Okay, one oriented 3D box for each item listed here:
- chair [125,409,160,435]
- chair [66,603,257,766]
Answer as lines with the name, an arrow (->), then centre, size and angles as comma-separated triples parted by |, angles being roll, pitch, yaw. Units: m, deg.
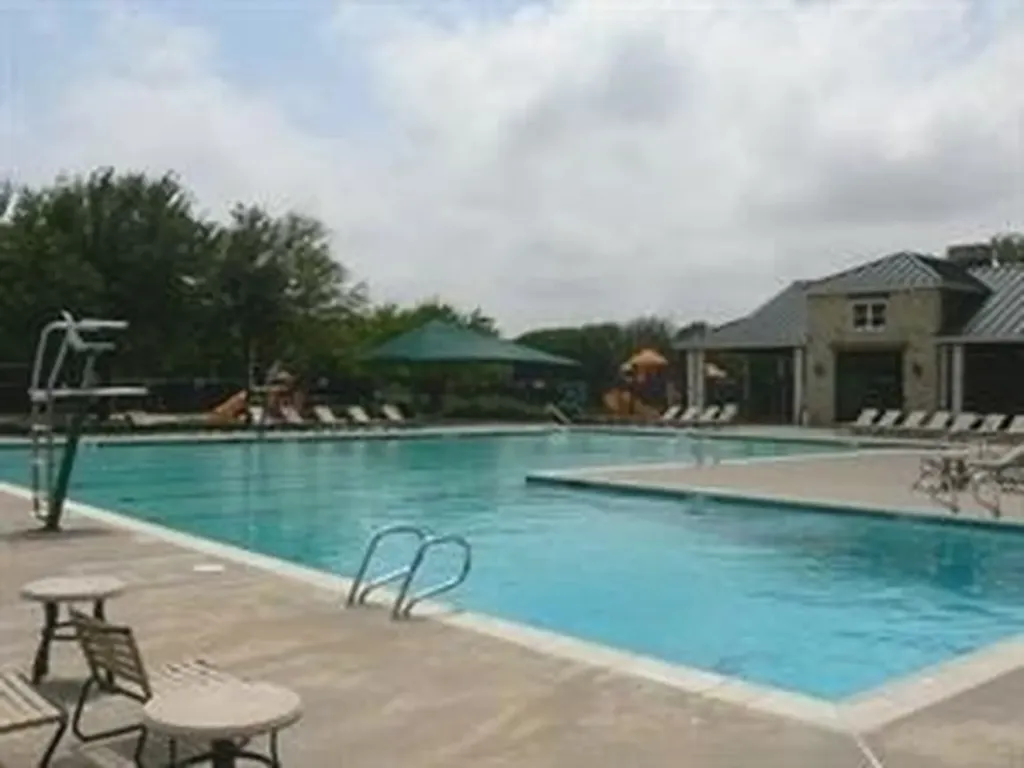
chair -> -12.353, 1.279, 30.605 | 0.883, 0.807, 2.316 | 4, -6, -21
chair -> -2.431, 1.897, 5.825 | 1.293, 0.955, 0.761 | 4, -2, -36
